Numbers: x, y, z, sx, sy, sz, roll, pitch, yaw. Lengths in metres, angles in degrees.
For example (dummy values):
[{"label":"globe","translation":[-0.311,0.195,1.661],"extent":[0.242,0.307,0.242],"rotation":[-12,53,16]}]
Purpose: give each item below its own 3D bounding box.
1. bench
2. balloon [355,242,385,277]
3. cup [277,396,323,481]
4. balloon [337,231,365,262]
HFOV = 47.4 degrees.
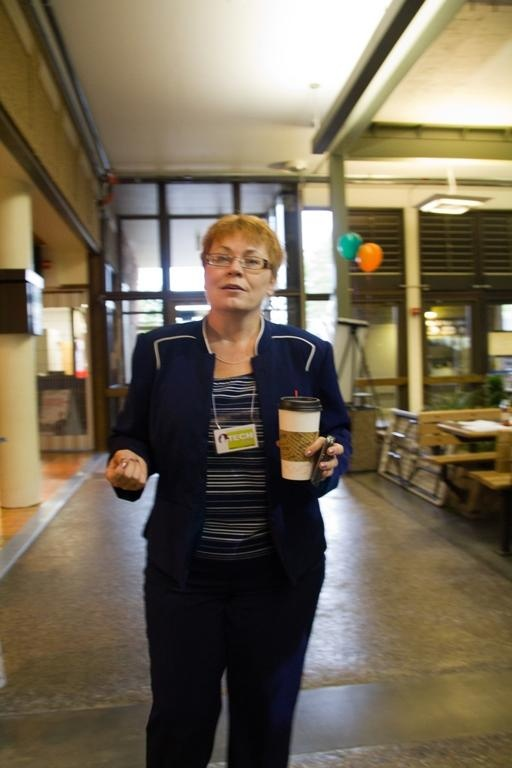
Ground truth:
[{"label":"bench","translation":[1.545,0.591,4.282],"extent":[0.820,0.526,0.299],"rotation":[1,0,-17]},{"label":"balloon","translation":[1.220,-1.395,6.340],"extent":[0.239,0.291,0.298],"rotation":[0,2,38]},{"label":"cup","translation":[0.079,0.108,1.142],"extent":[0.088,0.164,0.077],"rotation":[-1,1,13]},{"label":"balloon","translation":[1.041,-1.488,6.484],"extent":[0.299,0.365,0.306],"rotation":[-6,1,20]}]
